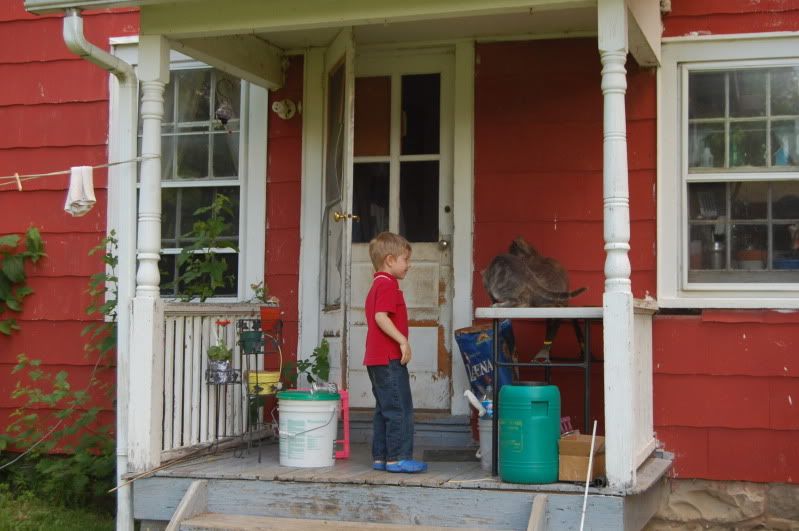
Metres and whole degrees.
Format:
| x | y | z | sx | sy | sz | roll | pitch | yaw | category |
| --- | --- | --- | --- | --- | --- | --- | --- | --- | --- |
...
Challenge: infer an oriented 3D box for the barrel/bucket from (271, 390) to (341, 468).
| x | y | z | sx | sy | sz | roll | pitch | yaw | category |
| --- | --- | --- | --- | --- | --- | --- | --- | --- | --- |
| -0.673 | 1.181 | 7.868 | 0.518 | 0.481 | 0.499 | 1 | -5 | 0 | barrel/bucket |

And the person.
| x | y | z | sx | sy | sz | roll | pitch | yaw | category |
| --- | --- | --- | --- | --- | --- | --- | --- | --- | --- |
| -0.037 | 0.623 | 7.699 | 0.444 | 1.721 | 0.311 | 0 | -1 | 0 | person |

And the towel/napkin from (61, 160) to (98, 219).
| x | y | z | sx | sy | sz | roll | pitch | yaw | category |
| --- | --- | --- | --- | --- | --- | --- | --- | --- | --- |
| -2.416 | -0.578 | 8.027 | 0.197 | 0.381 | 0.320 | 0 | 0 | -18 | towel/napkin |

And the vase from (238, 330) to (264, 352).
| x | y | z | sx | sy | sz | roll | pitch | yaw | category |
| --- | --- | --- | --- | --- | --- | --- | --- | --- | --- |
| -1.145 | 0.579 | 8.196 | 0.167 | 0.142 | 0.156 | 0 | -1 | -22 | vase |

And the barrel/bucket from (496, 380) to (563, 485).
| x | y | z | sx | sy | sz | roll | pitch | yaw | category |
| --- | --- | --- | --- | --- | --- | --- | --- | --- | --- |
| 0.904 | 1.162 | 7.469 | 0.448 | 0.708 | 0.449 | 1 | 0 | 0 | barrel/bucket |

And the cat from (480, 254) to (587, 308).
| x | y | z | sx | sy | sz | roll | pitch | yaw | category |
| --- | --- | --- | --- | --- | --- | --- | --- | --- | --- |
| 1.043 | 0.151 | 8.615 | 0.796 | 0.507 | 0.841 | 1 | 7 | 15 | cat |

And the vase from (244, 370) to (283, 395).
| x | y | z | sx | sy | sz | roll | pitch | yaw | category |
| --- | --- | --- | --- | --- | --- | --- | --- | --- | --- |
| -1.056 | 0.902 | 8.269 | 0.199 | 0.134 | 0.182 | 1 | -3 | 17 | vase |

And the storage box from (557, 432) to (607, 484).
| x | y | z | sx | sy | sz | roll | pitch | yaw | category |
| --- | --- | --- | --- | --- | --- | --- | --- | --- | --- |
| 1.281 | 1.342 | 7.450 | 0.309 | 0.286 | 0.421 | 0 | 0 | 14 | storage box |

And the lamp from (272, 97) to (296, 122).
| x | y | z | sx | sy | sz | roll | pitch | yaw | category |
| --- | --- | --- | --- | --- | --- | --- | --- | --- | --- |
| -0.985 | -1.334 | 9.033 | 0.192 | 0.154 | 0.086 | -4 | 4 | 8 | lamp |

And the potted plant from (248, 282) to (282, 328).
| x | y | z | sx | sy | sz | roll | pitch | yaw | category |
| --- | --- | --- | --- | --- | --- | --- | --- | --- | --- |
| -1.115 | 0.338 | 8.596 | 0.264 | 0.372 | 0.361 | -12 | -7 | 21 | potted plant |

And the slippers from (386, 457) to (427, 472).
| x | y | z | sx | sy | sz | roll | pitch | yaw | category |
| --- | --- | --- | --- | --- | --- | --- | --- | --- | --- |
| 0.042 | 1.440 | 7.657 | 0.209 | 0.090 | 0.122 | 0 | -3 | 2 | slippers |

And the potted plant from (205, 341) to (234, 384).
| x | y | z | sx | sy | sz | roll | pitch | yaw | category |
| --- | --- | --- | --- | --- | --- | --- | --- | --- | --- |
| -1.391 | 0.744 | 8.199 | 0.196 | 0.321 | 0.136 | 0 | -1 | -12 | potted plant |
